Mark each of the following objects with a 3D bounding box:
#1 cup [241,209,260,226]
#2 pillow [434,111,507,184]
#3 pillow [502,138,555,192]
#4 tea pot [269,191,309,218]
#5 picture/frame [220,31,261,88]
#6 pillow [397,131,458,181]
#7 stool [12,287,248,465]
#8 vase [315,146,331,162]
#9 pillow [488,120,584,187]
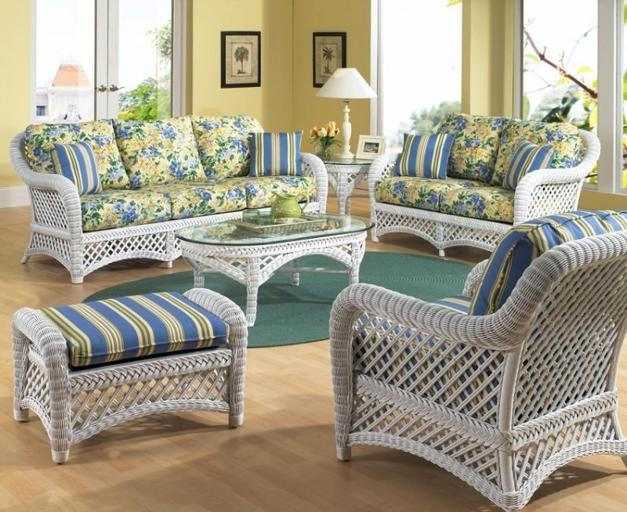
[{"bbox_3d":[-0.411,-0.248,3.774,0.140,0.091,0.091,-2,6,-22],"label":"cup"},{"bbox_3d":[1.431,-0.987,5.284,0.272,0.568,0.700,10,5,-42],"label":"pillow"},{"bbox_3d":[1.696,-0.718,4.734,0.145,0.360,0.436,15,4,-21],"label":"pillow"},{"bbox_3d":[-0.169,-0.328,3.891,0.228,0.163,0.156,2,2,-18],"label":"tea pot"},{"bbox_3d":[-1.010,-2.724,8.169,0.685,0.766,0.101,-11,22,-35],"label":"picture/frame"},{"bbox_3d":[1.059,-0.902,5.421,0.619,0.373,0.224,6,2,34],"label":"pillow"},{"bbox_3d":[-0.708,0.304,2.245,0.975,0.464,0.629,-7,16,-34],"label":"stool"},{"bbox_3d":[0.107,-1.056,6.069,0.193,0.154,0.164,0,8,0],"label":"vase"},{"bbox_3d":[1.851,-0.858,4.855,0.682,0.545,0.270,8,-4,45],"label":"pillow"}]
